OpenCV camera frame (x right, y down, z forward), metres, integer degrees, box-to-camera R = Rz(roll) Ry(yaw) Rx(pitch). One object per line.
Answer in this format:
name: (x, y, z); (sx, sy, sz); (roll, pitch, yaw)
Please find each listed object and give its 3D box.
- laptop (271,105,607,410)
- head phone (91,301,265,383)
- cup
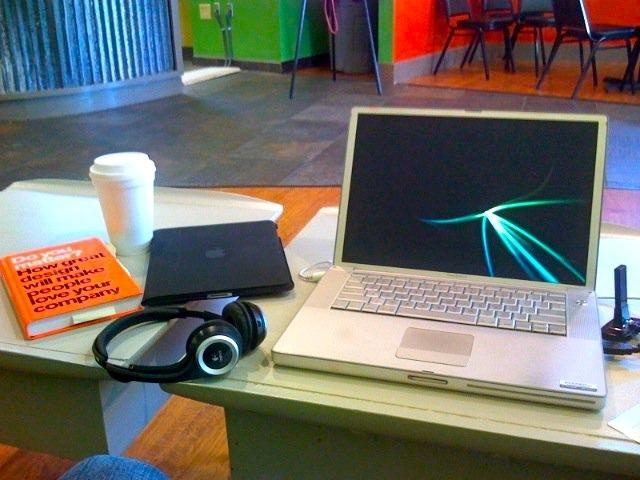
laptop: (0.200, 0.039, 0.725); (0.394, 0.263, 0.405); (7, 28, 18)
head phone: (-0.185, 0.119, 0.633); (0.194, 0.061, 0.181); (-1, 16, 6)
cup: (-0.336, -0.059, 0.869); (0.115, 0.164, 0.113); (-1, 17, 0)
